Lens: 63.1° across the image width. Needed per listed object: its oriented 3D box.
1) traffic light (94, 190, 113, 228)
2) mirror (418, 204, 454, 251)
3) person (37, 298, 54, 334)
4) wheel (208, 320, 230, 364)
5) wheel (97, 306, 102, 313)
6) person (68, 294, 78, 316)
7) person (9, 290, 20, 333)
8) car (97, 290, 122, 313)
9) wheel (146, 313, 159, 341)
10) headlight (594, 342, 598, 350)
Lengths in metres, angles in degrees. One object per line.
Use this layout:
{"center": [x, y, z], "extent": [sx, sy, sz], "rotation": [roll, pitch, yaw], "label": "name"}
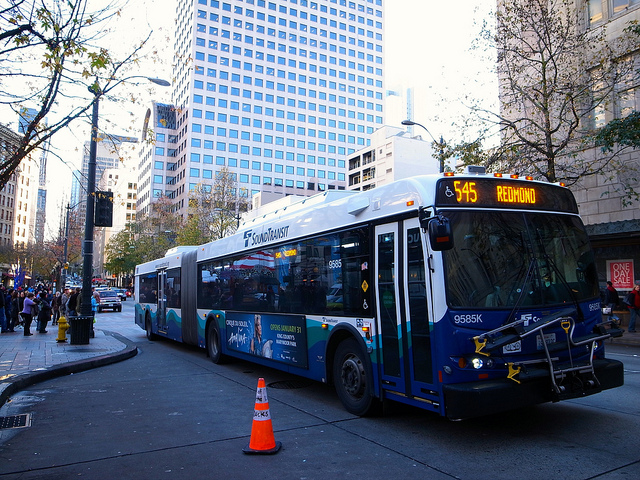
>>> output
{"center": [-7.485, -1.080, 17.915], "extent": [0.572, 1.166, 1.465], "rotation": [0, -2, -23], "label": "traffic light"}
{"center": [1.722, -0.168, 7.788], "extent": [0.353, 0.785, 0.397], "rotation": [0, -2, -24], "label": "mirror"}
{"center": [-12.791, 3.461, 24.111], "extent": [0.486, 1.600, 2.362], "rotation": [0, -2, -29], "label": "person"}
{"center": [-2.944, 3.002, 15.202], "extent": [0.442, 1.358, 1.265], "rotation": [2, -7, -26], "label": "wheel"}
{"center": [-18.568, 5.789, 43.723], "extent": [0.365, 0.525, 0.826], "rotation": [0, -2, -26], "label": "wheel"}
{"center": [-10.953, 2.882, 22.964], "extent": [0.319, 0.974, 1.371], "rotation": [0, -2, -34], "label": "person"}
{"center": [-14.370, 3.344, 24.381], "extent": [0.374, 1.861, 1.397], "rotation": [0, -1, -30], "label": "person"}
{"center": [-17.726, 4.974, 43.680], "extent": [1.173, 1.239, 2.412], "rotation": [3, -12, -30], "label": "car"}
{"center": [-6.839, 3.501, 21.173], "extent": [0.351, 1.194, 1.115], "rotation": [-2, -6, -25], "label": "wheel"}
{"center": [4.383, 1.689, 8.301], "extent": [0.100, 0.028, 0.104], "rotation": [1, -4, -22], "label": "headlight"}
